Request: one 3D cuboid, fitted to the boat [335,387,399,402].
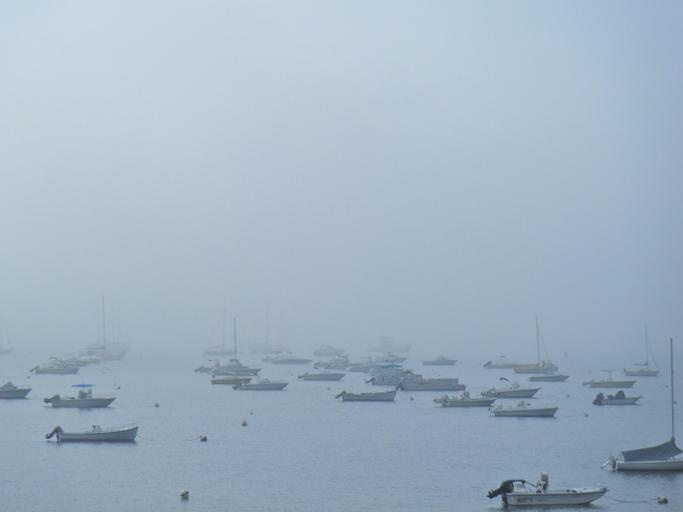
[{"bbox_3d":[1.600,8.657,84.436,3.523,0.744,1.938,1,8,11],"label":"boat"}]
